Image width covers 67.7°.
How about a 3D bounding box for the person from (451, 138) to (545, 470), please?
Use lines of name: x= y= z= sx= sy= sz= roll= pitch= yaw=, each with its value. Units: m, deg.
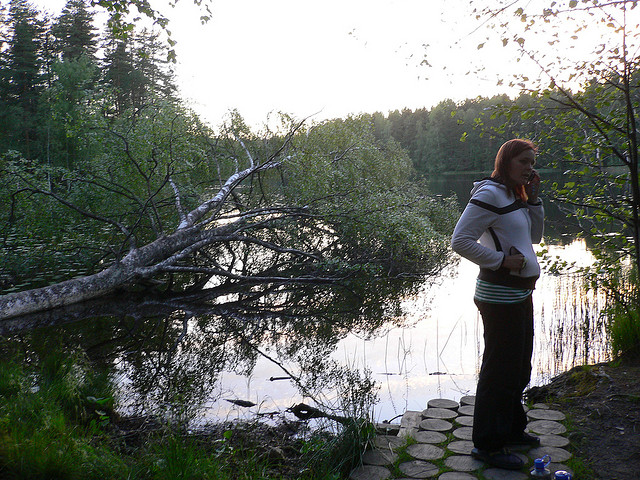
person: x=1.545 y=0.495 z=3.996 sx=0.874 sy=2.693 sz=0.463 roll=-4 pitch=5 yaw=-33
